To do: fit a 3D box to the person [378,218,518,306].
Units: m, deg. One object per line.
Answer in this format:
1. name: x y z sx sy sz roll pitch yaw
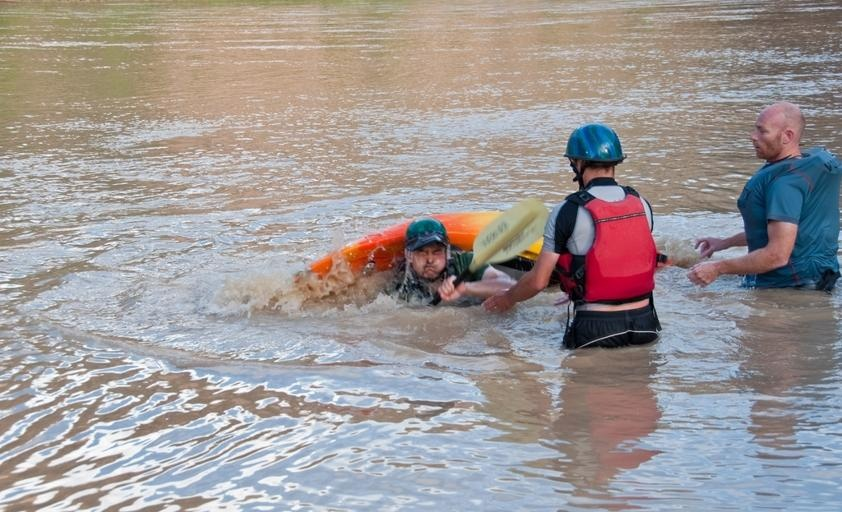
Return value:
1. person: 0.201 -0.034 9.772 1.912 0.583 1.678 -4 16 3
